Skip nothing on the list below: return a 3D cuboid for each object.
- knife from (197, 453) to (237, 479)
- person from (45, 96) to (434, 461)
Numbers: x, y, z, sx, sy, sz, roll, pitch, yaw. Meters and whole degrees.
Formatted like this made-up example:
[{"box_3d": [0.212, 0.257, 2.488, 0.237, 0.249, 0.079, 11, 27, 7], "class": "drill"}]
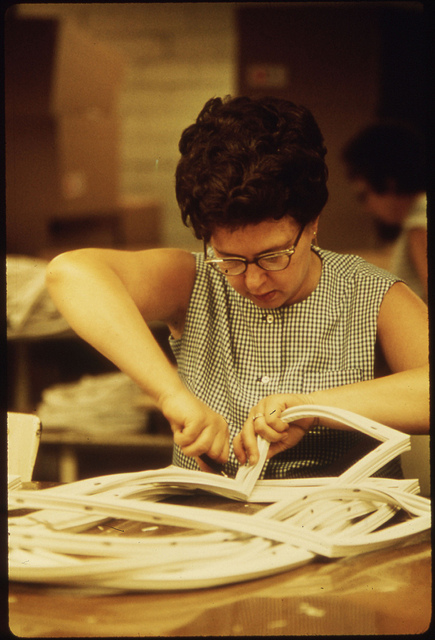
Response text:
[{"box_3d": [-0.001, 0.322, 1.628, 0.074, 0.012, 0.009, 39, 18, 2], "class": "knife"}, {"box_3d": [0.052, -0.102, 1.609, 0.756, 1.008, 0.543, -4, 15, 10], "class": "person"}]
